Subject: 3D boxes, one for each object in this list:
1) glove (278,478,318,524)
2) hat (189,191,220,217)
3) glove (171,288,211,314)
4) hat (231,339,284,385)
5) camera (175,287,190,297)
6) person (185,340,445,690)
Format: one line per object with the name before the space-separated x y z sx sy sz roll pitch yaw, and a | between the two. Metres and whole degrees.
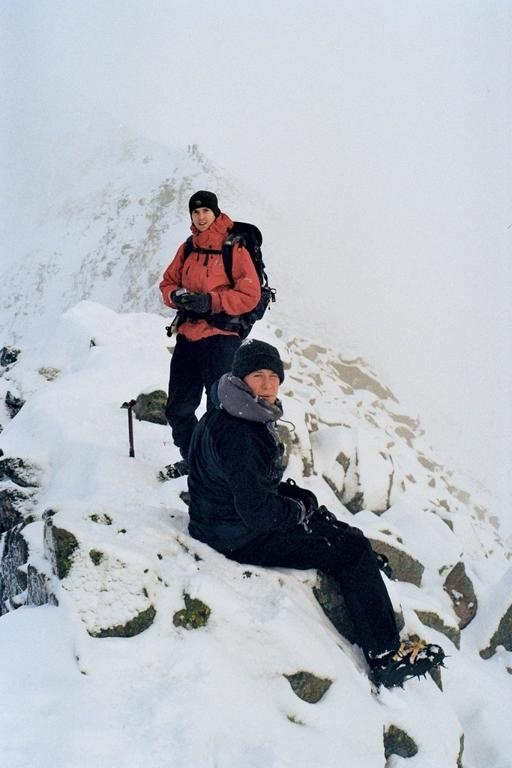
glove | 0.298 0.782 5.846 0.431 0.184 0.146 30 49 33
hat | -0.489 -1.630 7.460 0.225 0.214 0.283 5 19 19
glove | -0.579 -0.719 7.179 0.383 0.198 0.288 9 -2 37
hat | 0.010 -0.169 5.687 0.324 0.272 0.313 10 -9 -27
camera | -0.634 -0.798 7.139 0.111 0.079 0.224 10 -1 -11
person | 0.302 0.867 5.727 1.566 2.227 0.755 11 -2 -14
